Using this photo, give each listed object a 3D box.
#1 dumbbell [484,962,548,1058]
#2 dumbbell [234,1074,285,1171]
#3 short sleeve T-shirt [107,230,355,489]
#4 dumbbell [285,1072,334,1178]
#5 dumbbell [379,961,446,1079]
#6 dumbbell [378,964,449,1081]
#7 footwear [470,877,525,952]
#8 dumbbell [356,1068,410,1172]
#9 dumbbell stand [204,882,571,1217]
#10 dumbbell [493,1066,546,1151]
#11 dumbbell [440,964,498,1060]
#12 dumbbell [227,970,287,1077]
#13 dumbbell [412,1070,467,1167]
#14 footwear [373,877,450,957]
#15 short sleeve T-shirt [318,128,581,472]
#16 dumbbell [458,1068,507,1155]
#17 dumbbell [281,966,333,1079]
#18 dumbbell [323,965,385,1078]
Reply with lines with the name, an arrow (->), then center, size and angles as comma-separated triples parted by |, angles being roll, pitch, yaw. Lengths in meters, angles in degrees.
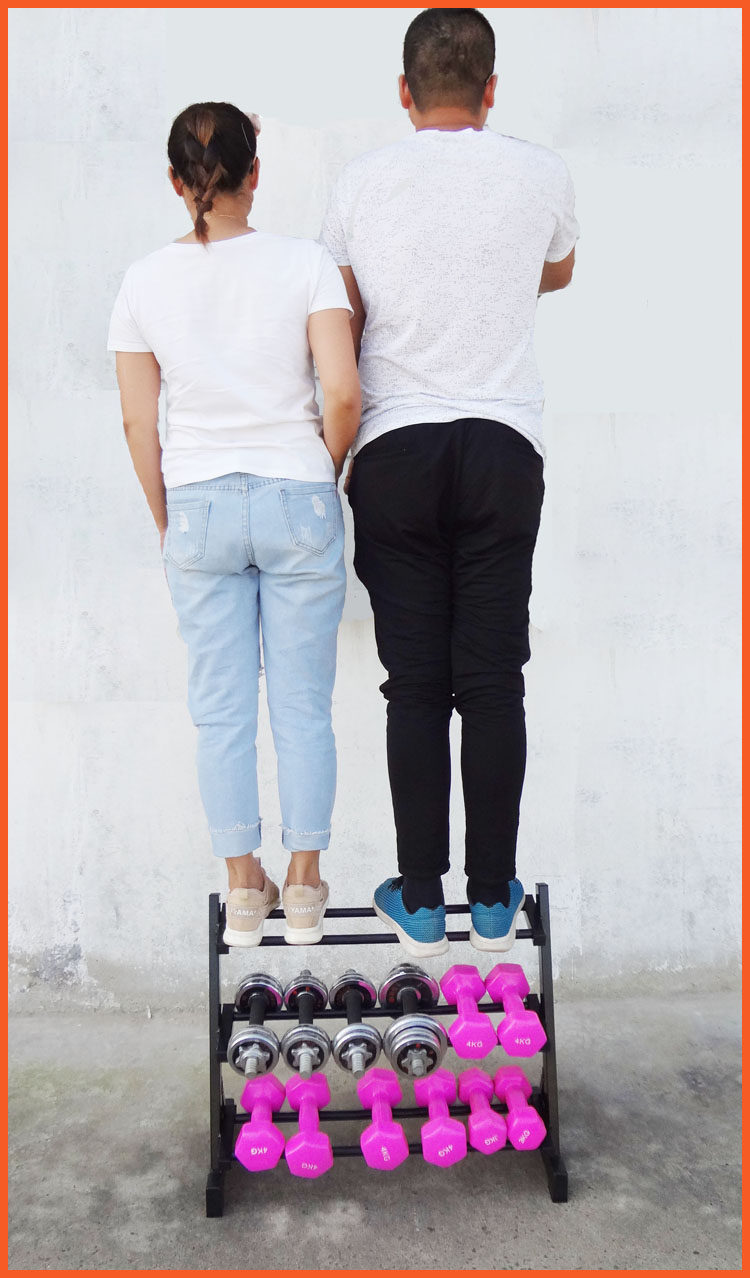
dumbbell -> 0.314, 0.839, 2.899 | 0.110, 0.087, 0.236 | 4, 18, -5
dumbbell -> -0.254, 1.063, 2.816 | 0.106, 0.098, 0.215 | -10, 15, 2
short sleeve T-shirt -> -0.282, -0.570, 2.628 | 0.549, 0.538, 0.302 | -3, 20, 7
dumbbell -> -0.150, 1.073, 2.805 | 0.111, 0.122, 0.255 | -9, 31, 4
dumbbell -> 0.083, 0.874, 2.903 | 0.145, 0.205, 0.237 | -2, 1, -1
dumbbell -> 0.082, 0.882, 2.947 | 0.140, 0.137, 0.373 | -7, 11, 1
footwear -> 0.266, 0.601, 2.817 | 0.077, 0.086, 0.202 | 0, 18, 5
dumbbell -> 0.012, 1.048, 2.786 | 0.097, 0.184, 0.223 | -2, 1, -1
dumbbell stand -> 0.022, 0.963, 2.922 | 0.694, 0.585, 0.366 | -1, 11, -1
dumbbell -> 0.322, 1.058, 2.883 | 0.085, 0.083, 0.197 | -3, 17, -4
dumbbell -> 0.208, 0.835, 2.876 | 0.107, 0.083, 0.230 | 5, 20, -5
dumbbell -> -0.278, 0.886, 2.915 | 0.123, 0.199, 0.244 | -2, 1, -2
dumbbell -> 0.142, 1.056, 2.815 | 0.107, 0.166, 0.225 | -2, 1, 2
footwear -> 0.071, 0.618, 2.858 | 0.094, 0.100, 0.236 | -3, 23, -19
short sleeve T-shirt -> 0.162, -0.733, 2.774 | 0.531, 0.665, 0.371 | 2, 17, 3
dumbbell -> 0.238, 1.055, 2.842 | 0.082, 0.093, 0.194 | 6, 18, -10
dumbbell -> -0.164, 0.885, 2.935 | 0.115, 0.195, 0.259 | -2, 1, -3
dumbbell -> -0.053, 0.911, 3.002 | 0.118, 0.120, 0.352 | -4, 28, 2
